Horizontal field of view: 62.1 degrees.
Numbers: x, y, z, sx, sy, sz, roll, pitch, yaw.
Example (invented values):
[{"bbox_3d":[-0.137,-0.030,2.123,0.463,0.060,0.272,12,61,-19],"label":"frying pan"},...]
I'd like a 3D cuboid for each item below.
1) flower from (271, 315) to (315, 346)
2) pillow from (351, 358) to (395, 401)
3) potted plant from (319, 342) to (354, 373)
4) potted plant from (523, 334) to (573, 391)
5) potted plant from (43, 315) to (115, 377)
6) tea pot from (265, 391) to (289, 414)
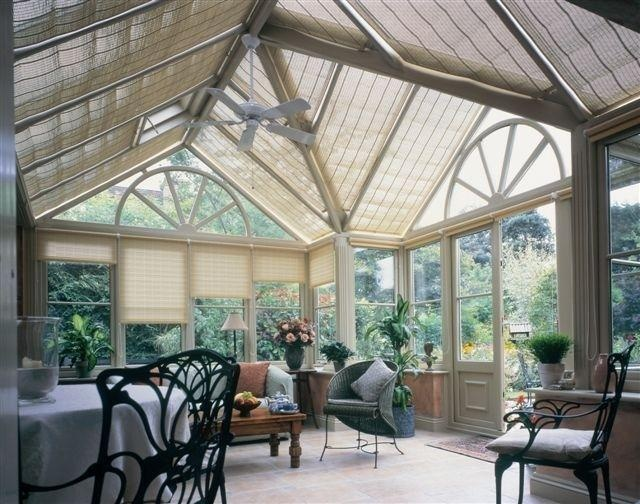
[{"bbox_3d":[-0.313,0.968,6.613,0.425,0.282,0.387,6,-6,-18],"label":"flower"},{"bbox_3d":[0.539,1.236,5.113,0.363,0.371,0.594,0,-8,-10],"label":"pillow"},{"bbox_3d":[0.190,1.296,6.447,0.418,0.298,0.366,8,-19,-20],"label":"potted plant"},{"bbox_3d":[1.717,0.807,3.966,0.407,0.396,0.411,-3,-8,28],"label":"potted plant"},{"bbox_3d":[-2.699,1.077,6.151,0.763,0.659,0.644,-12,-15,39],"label":"potted plant"},{"bbox_3d":[-0.400,1.417,5.001,0.225,0.141,0.149,3,-11,-13],"label":"tea pot"}]
